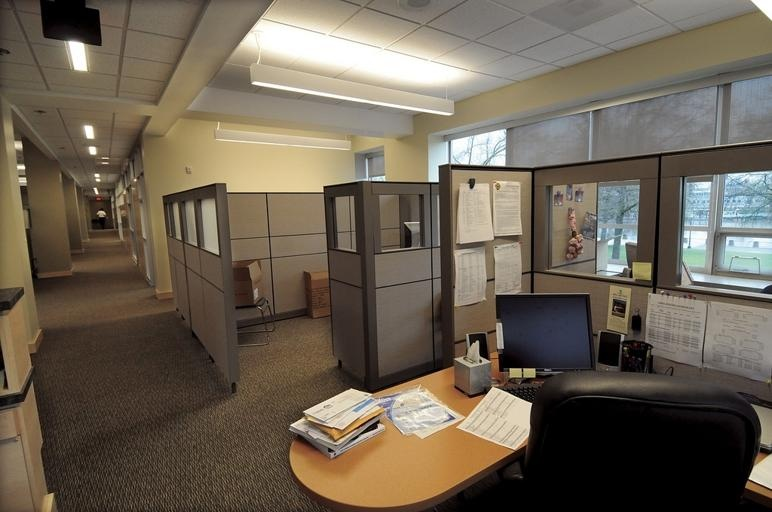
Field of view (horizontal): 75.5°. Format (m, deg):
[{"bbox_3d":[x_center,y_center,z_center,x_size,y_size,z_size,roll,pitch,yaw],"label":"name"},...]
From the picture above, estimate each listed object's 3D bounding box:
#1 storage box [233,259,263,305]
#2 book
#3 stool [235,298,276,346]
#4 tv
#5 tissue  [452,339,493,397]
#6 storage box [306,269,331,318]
[{"bbox_3d":[-1.729,0.320,6.144,0.402,0.460,0.510,-1,9,-8],"label":"storage box"},{"bbox_3d":[-0.284,1.049,3.127,0.352,0.126,0.417,-14,14,-42],"label":"book"},{"bbox_3d":[-1.640,0.673,6.196,0.542,0.749,0.485,-6,12,-17],"label":"stool"},{"bbox_3d":[1.092,0.542,3.459,0.657,0.561,0.096,-1,-5,-1],"label":"tv"},{"bbox_3d":[0.607,0.770,3.472,0.228,0.348,0.231,-3,9,-12],"label":"tissue "},{"bbox_3d":[-0.904,0.528,6.979,0.381,0.638,0.252,-6,9,-31],"label":"storage box"}]
